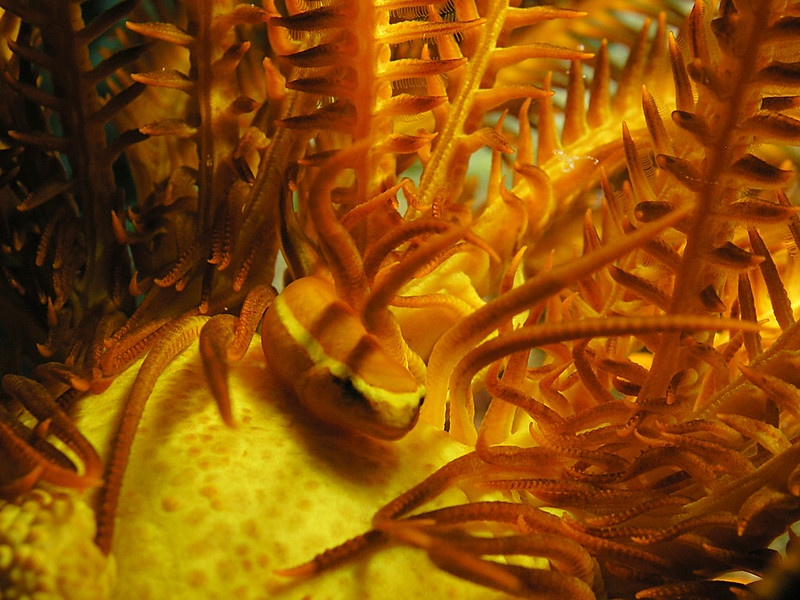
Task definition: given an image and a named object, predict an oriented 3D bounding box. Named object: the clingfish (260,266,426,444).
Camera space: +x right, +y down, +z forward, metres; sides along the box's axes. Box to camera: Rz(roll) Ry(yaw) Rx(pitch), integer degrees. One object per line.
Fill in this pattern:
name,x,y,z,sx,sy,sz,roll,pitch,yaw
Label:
clingfish,-0.073,0.079,1.174,0.218,0.088,0.137,40,83,8
